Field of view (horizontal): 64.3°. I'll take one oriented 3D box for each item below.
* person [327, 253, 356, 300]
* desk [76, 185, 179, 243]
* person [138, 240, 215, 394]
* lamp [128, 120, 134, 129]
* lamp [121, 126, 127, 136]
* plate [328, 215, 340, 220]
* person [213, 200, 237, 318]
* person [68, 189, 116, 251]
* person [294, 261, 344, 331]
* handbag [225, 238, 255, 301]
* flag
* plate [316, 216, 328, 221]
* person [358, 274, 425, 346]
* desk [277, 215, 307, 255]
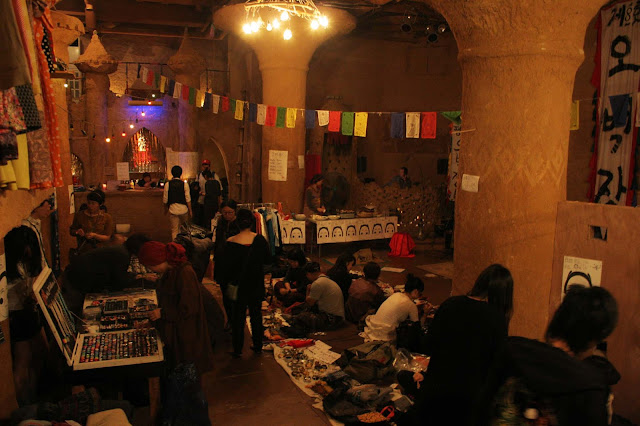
[{"bbox_3d":[0.494,1.178,9.580,0.518,0.943,0.433,-15,34,-12],"label":"person"},{"bbox_3d":[-4.559,-0.049,13.038,2.193,1.417,1.190,0,2,-11],"label":"desk"},{"bbox_3d":[-1.674,1.166,5.919,0.701,1.672,0.580,3,4,32],"label":"person"},{"bbox_3d":[-8.314,-3.899,22.533,0.242,0.519,0.238,-2,5,-36],"label":"lamp"},{"bbox_3d":[-8.681,-3.623,22.593,0.233,0.407,0.060,1,4,5],"label":"lamp"},{"bbox_3d":[0.365,0.115,12.911,0.350,0.103,0.166,-1,3,-24],"label":"plate"},{"bbox_3d":[-1.719,0.720,9.412,0.640,2.032,0.548,6,31,-6],"label":"person"},{"bbox_3d":[-3.952,0.125,8.822,0.706,1.034,0.388,-1,4,-15],"label":"person"},{"bbox_3d":[-0.038,1.372,9.036,1.005,1.203,1.074,2,2,28],"label":"person"},{"bbox_3d":[-1.214,0.833,7.288,0.190,0.822,0.098,9,0,19],"label":"handbag"},{"bbox_3d":[-0.306,-2.480,12.529,6.678,1.726,4.599,1,3,19],"label":"flag"},{"bbox_3d":[0.054,0.129,12.777,0.315,0.100,0.189,0,3,-17],"label":"plate"},{"bbox_3d":[1.169,1.433,7.719,0.835,1.056,0.592,2,15,-15],"label":"person"},{"bbox_3d":[-0.743,0.459,12.536,0.737,0.700,0.727,1,0,-34],"label":"desk"}]
